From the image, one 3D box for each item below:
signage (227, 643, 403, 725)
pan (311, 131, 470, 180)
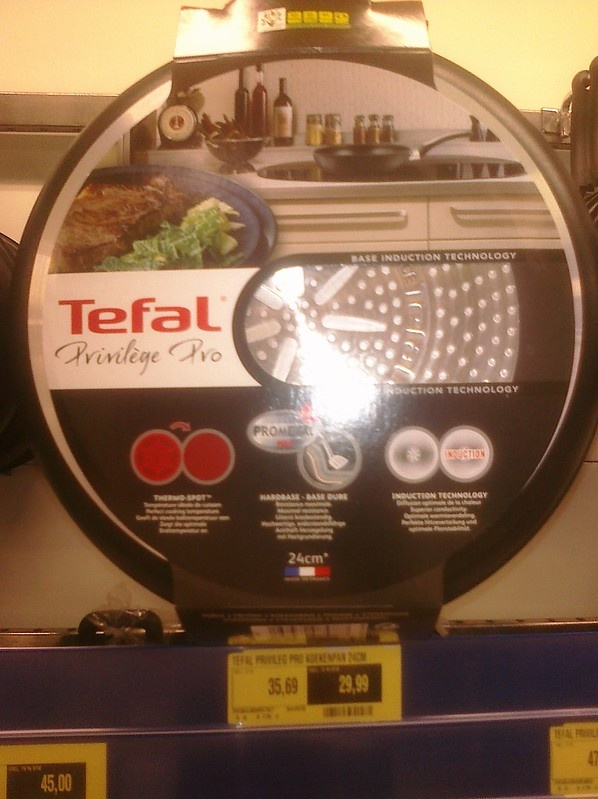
[{"bbox_3d":[0.018,0.321,0.842,0.192,0.079,0.003,-1,-10,-5],"label":"signage"},{"bbox_3d":[0.085,-0.266,0.828,0.134,0.035,0.065,-4,41,-6],"label":"pan"}]
